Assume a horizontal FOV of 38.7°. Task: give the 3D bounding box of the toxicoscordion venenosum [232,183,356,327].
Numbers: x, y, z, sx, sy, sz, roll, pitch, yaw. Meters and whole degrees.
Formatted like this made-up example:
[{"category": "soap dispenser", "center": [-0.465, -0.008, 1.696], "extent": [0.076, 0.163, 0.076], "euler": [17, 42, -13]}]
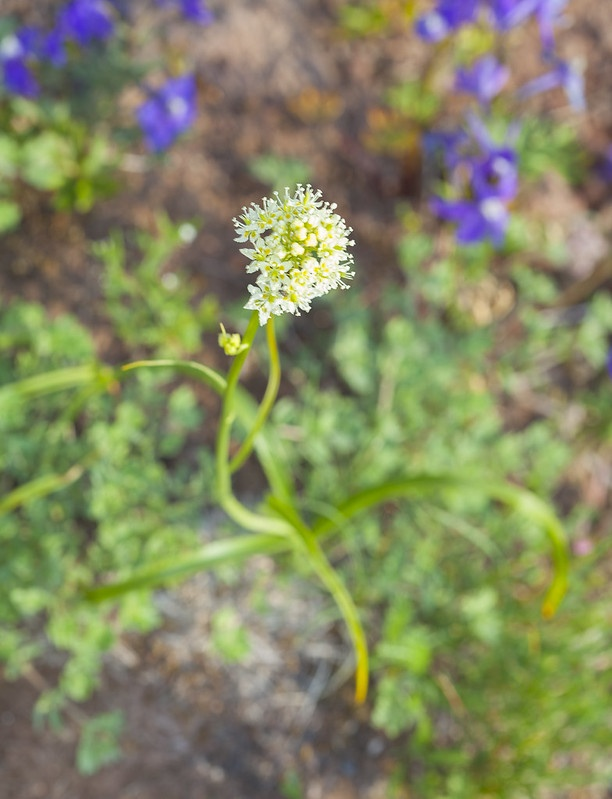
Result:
[{"category": "toxicoscordion venenosum", "center": [-0.013, -0.134, 0.840], "extent": [0.099, 0.193, 0.136], "euler": [-8, 84, -3]}]
